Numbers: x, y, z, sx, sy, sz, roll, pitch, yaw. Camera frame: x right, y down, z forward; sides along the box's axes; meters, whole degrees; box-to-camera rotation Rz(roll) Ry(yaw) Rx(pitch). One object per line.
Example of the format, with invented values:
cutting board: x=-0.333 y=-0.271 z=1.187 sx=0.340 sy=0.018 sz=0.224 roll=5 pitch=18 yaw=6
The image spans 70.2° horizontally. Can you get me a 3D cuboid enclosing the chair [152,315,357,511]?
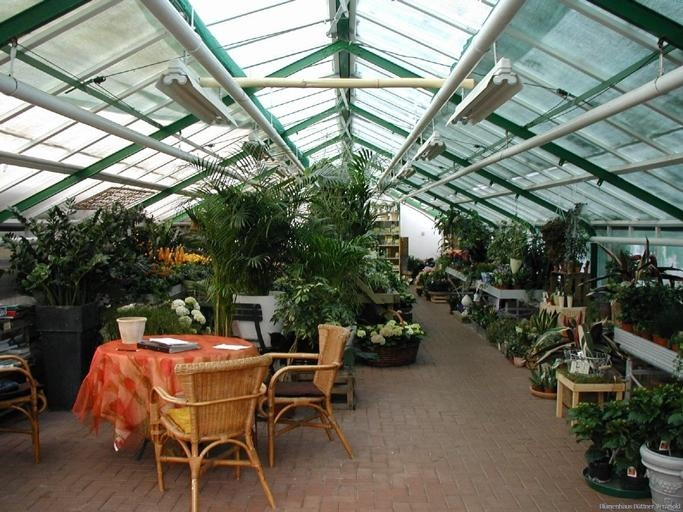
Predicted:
chair: x=-0.784 y=1.236 z=3.954 sx=1.143 sy=1.166 sz=1.526 roll=3 pitch=5 yaw=33

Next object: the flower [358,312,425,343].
flower: x=0.738 y=1.136 z=7.348 sx=0.647 sy=0.187 sz=0.589 roll=-2 pitch=-4 yaw=-18

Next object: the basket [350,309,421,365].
basket: x=0.687 y=1.216 z=7.219 sx=0.990 sy=0.550 sz=0.916 roll=0 pitch=-2 yaw=8

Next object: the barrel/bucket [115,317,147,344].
barrel/bucket: x=-1.848 y=0.651 z=4.287 sx=0.271 sy=0.168 sz=0.246 roll=0 pitch=-5 yaw=-18

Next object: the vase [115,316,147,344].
vase: x=-1.827 y=0.641 z=4.233 sx=0.273 sy=0.170 sz=0.248 roll=0 pitch=-5 yaw=-22
